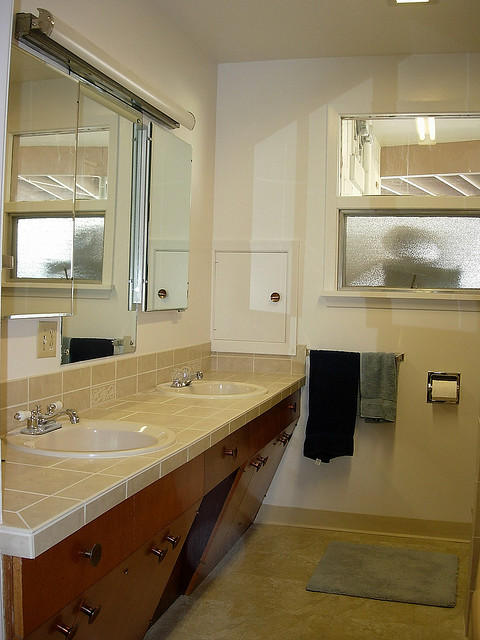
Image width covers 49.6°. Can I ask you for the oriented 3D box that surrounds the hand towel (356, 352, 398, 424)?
[{"bbox_3d":[0.774,0.370,2.937,0.212,0.370,0.056,2,-1,7],"label":"hand towel"}]

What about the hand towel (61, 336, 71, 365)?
[{"bbox_3d":[-0.625,0.109,1.861,0.009,0.077,0.060,2,-1,13],"label":"hand towel"}]

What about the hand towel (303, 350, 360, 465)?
[{"bbox_3d":[0.532,0.483,2.995,0.296,0.599,0.088,2,-1,10],"label":"hand towel"}]

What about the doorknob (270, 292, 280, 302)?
[{"bbox_3d":[0.218,-0.142,3.217,0.055,0.058,0.026,2,-1,10],"label":"doorknob"}]

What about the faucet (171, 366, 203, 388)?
[{"bbox_3d":[-0.265,0.294,2.663,0.062,0.083,0.234,-1,1,18],"label":"faucet"}]

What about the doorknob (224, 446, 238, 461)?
[{"bbox_3d":[-0.026,0.490,1.899,0.056,0.050,0.046,-2,-31,3],"label":"doorknob"}]

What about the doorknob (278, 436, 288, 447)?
[{"bbox_3d":[0.234,0.656,2.827,0.049,0.045,0.084,13,1,42],"label":"doorknob"}]

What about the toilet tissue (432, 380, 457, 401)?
[{"bbox_3d":[1.181,0.401,2.979,0.120,0.110,0.056,1,-6,14],"label":"toilet tissue"}]

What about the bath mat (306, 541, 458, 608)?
[{"bbox_3d":[0.743,1.265,2.637,0.766,0.035,0.622,2,-1,11],"label":"bath mat"}]

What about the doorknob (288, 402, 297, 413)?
[{"bbox_3d":[0.305,0.496,2.965,0.063,0.039,0.055,0,1,20],"label":"doorknob"}]
